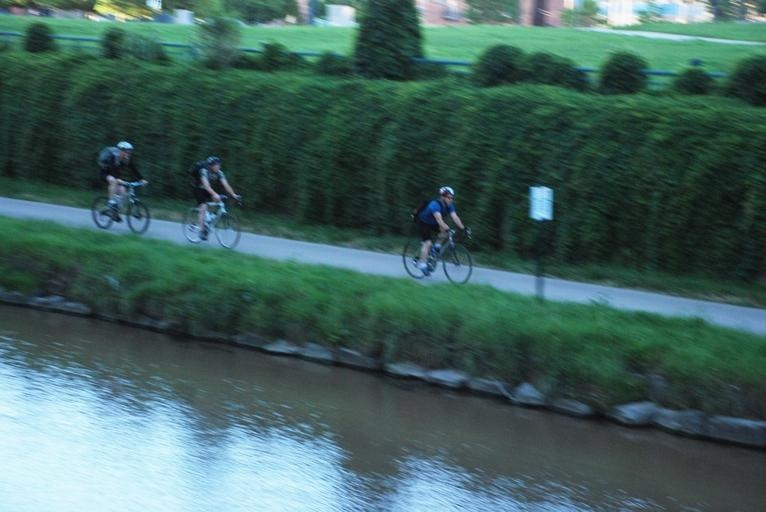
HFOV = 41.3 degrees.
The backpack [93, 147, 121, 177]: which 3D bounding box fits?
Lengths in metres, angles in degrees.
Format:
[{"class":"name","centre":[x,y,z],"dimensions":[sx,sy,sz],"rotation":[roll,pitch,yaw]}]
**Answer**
[{"class":"backpack","centre":[-7.106,-2.388,26.466],"dimensions":[0.733,0.736,0.275],"rotation":[4,12,14]}]

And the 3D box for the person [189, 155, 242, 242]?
[{"class":"person","centre":[-4.366,-1.387,25.806],"dimensions":[0.914,2.141,1.241],"rotation":[-4,13,-24]}]

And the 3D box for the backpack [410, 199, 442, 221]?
[{"class":"backpack","centre":[1.087,-1.051,24.399],"dimensions":[0.814,0.611,0.303],"rotation":[10,14,38]}]

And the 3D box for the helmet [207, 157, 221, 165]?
[{"class":"helmet","centre":[-4.271,-2.341,25.566],"dimensions":[0.412,0.182,0.458],"rotation":[-1,4,-15]}]

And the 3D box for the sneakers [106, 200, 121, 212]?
[{"class":"sneakers","centre":[-7.046,-1.290,26.634],"dimensions":[0.275,0.228,0.264],"rotation":[0,4,3]}]

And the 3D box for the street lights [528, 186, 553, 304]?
[{"class":"street lights","centre":[3.470,-0.223,22.581],"dimensions":[0.599,2.562,0.296],"rotation":[3,-8,-7]}]

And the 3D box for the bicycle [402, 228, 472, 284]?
[{"class":"bicycle","centre":[1.289,-0.006,24.474],"dimensions":[2.287,1.239,0.840],"rotation":[8,-11,-39]}]

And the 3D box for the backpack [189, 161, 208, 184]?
[{"class":"backpack","centre":[-4.646,-2.103,25.721],"dimensions":[0.492,0.590,0.647],"rotation":[1,-27,-7]}]

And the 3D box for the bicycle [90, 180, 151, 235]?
[{"class":"bicycle","centre":[-6.698,-1.188,27.106],"dimensions":[2.165,1.229,1.064],"rotation":[2,5,33]}]

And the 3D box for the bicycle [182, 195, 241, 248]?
[{"class":"bicycle","centre":[-4.409,-0.884,26.028],"dimensions":[2.115,1.276,0.868],"rotation":[9,3,36]}]
